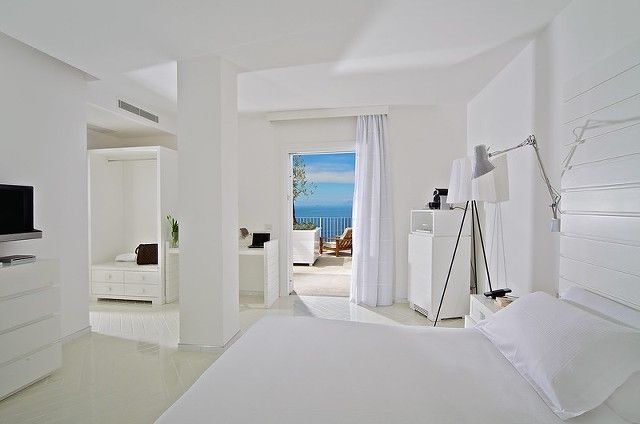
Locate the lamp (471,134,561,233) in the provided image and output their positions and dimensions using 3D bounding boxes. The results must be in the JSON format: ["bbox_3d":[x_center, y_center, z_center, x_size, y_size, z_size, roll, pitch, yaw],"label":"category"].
[{"bbox_3d":[1.901,-0.349,4.045,0.692,0.871,1.435,1,8,4],"label":"lamp"}]

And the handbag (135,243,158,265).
[{"bbox_3d":[-2.574,0.628,5.914,0.318,0.324,0.109,-1,-5,-2],"label":"handbag"}]

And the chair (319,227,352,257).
[{"bbox_3d":[0.415,0.722,9.839,0.612,0.625,0.791,1,-1,-40],"label":"chair"}]

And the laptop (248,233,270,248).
[{"bbox_3d":[-0.931,0.425,6.156,0.274,0.195,0.212,0,-7,3],"label":"laptop"}]

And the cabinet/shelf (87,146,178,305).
[{"bbox_3d":[-2.787,0.152,6.039,1.281,2.266,0.903,1,9,8],"label":"cabinet/shelf"}]
